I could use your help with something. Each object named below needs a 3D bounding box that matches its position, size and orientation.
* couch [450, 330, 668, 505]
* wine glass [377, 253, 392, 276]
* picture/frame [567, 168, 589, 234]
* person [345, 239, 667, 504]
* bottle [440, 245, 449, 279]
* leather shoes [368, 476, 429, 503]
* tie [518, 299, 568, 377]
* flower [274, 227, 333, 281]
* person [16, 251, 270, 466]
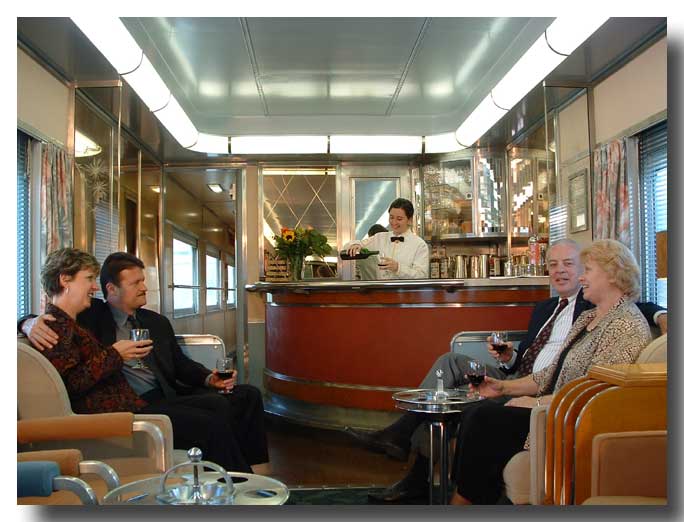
[{"bbox_3d":[1.129,0.885,3.385,0.991,1.155,0.859,0,-11,2],"label":"couch"},{"bbox_3d":[0.384,0.035,5.229,0.086,0.198,0.140,4,13,9],"label":"wine glass"},{"bbox_3d":[1.948,-0.500,4.690,0.300,0.376,0.094,1,1,-33],"label":"picture/frame"},{"bbox_3d":[1.118,0.716,3.108,0.929,1.681,0.635,4,1,13],"label":"person"},{"bbox_3d":[1.327,0.025,7.391,0.130,0.396,0.398,-1,-4,9],"label":"bottle"},{"bbox_3d":[0.359,1.398,3.478,0.446,0.189,0.136,1,-17,-1],"label":"leather shoes"},{"bbox_3d":[1.234,0.482,3.467,0.114,0.478,0.093,21,10,-47],"label":"tie"},{"bbox_3d":[-0.460,-0.077,5.737,0.547,0.554,0.502,-3,-11,6],"label":"flower"},{"bbox_3d":[-1.101,0.769,3.506,1.233,1.581,0.793,-4,1,-5],"label":"person"}]
